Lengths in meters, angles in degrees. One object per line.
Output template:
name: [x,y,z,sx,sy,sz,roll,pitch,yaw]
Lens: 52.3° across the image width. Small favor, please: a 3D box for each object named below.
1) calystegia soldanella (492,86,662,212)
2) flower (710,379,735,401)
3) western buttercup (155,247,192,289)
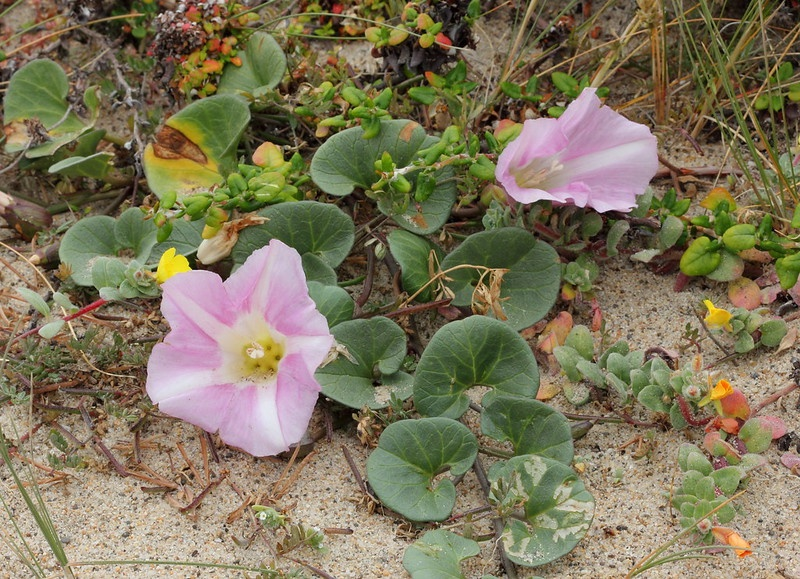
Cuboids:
calystegia soldanella: [0.622,-0.480,2.852,0.586,0.263,0.355,0,60,-5]
flower: [1.045,0.328,2.654,0.070,0.035,0.059,-19,40,3]
western buttercup: [-0.807,-0.089,2.878,0.098,0.139,0.152,-2,96,28]
